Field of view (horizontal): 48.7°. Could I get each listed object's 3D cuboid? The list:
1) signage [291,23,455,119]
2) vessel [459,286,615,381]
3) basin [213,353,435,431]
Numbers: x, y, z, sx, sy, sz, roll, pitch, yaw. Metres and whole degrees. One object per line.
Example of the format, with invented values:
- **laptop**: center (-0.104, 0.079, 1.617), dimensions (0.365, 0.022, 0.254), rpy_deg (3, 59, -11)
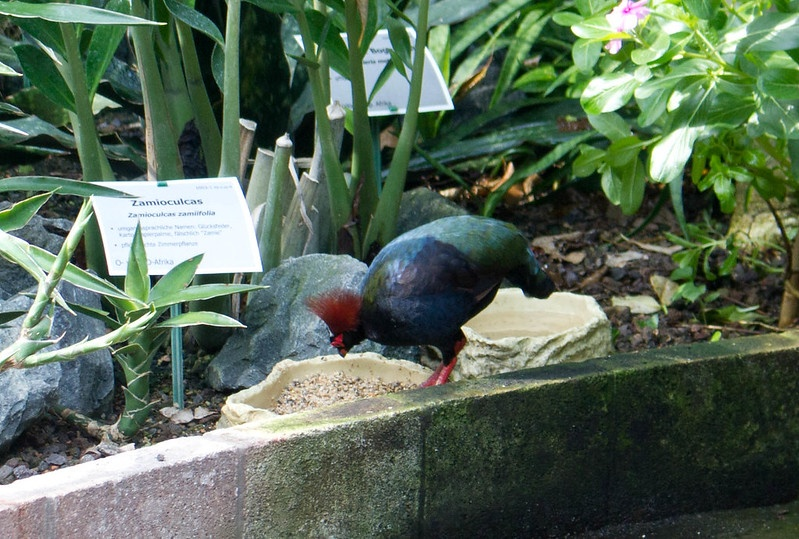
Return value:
- **signage**: center (-0.068, -0.717, 3.529), dimensions (0.429, 0.052, 0.493), rpy_deg (-5, 43, -34)
- **vessel**: center (0.501, 0.236, 3.105), dimensions (0.369, 0.151, 0.379), rpy_deg (-8, 0, -22)
- **basin**: center (-0.281, 0.367, 2.995), dimensions (0.376, 0.097, 0.346), rpy_deg (1, 19, 0)
